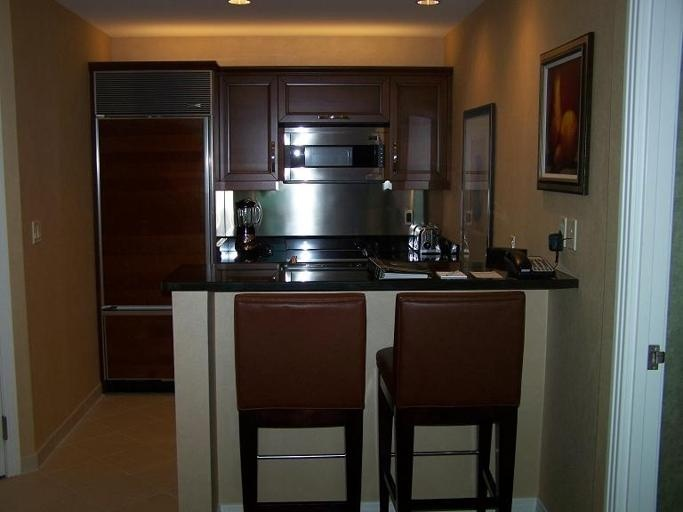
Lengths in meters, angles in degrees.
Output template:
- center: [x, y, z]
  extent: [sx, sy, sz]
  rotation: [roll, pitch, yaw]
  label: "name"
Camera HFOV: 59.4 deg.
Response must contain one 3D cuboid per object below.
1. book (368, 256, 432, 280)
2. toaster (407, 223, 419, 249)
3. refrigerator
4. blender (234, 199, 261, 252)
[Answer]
- center: [0.302, 0.058, 3.069]
  extent: [0.311, 0.106, 0.351]
  rotation: [-8, 11, 4]
  label: "book"
- center: [0.617, -0.167, 5.133]
  extent: [0.104, 0.204, 0.205]
  rotation: [-1, 6, -2]
  label: "toaster"
- center: [-1.610, -0.110, 5.056]
  extent: [0.879, 2.319, 0.762]
  rotation: [-3, 17, -20]
  label: "refrigerator"
- center: [-0.813, -0.274, 5.272]
  extent: [0.266, 0.432, 0.378]
  rotation: [-9, 9, -8]
  label: "blender"
